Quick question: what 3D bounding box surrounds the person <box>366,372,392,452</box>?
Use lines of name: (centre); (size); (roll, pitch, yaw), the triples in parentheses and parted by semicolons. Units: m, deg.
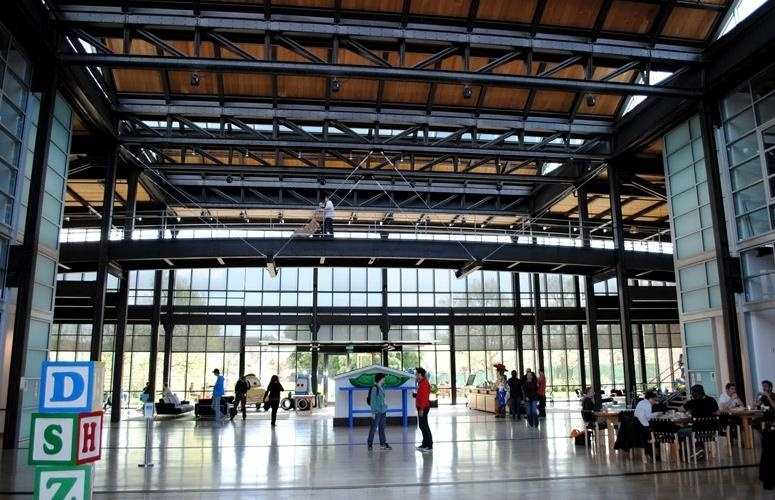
person: (-0.341, 5.933, 25.116); (1.084, 2.735, 0.932); (0, 10, -4)

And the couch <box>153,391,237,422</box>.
couch: (-10.534, 8.320, 36.299); (3.042, 0.823, 2.434); (1, -16, -6)
